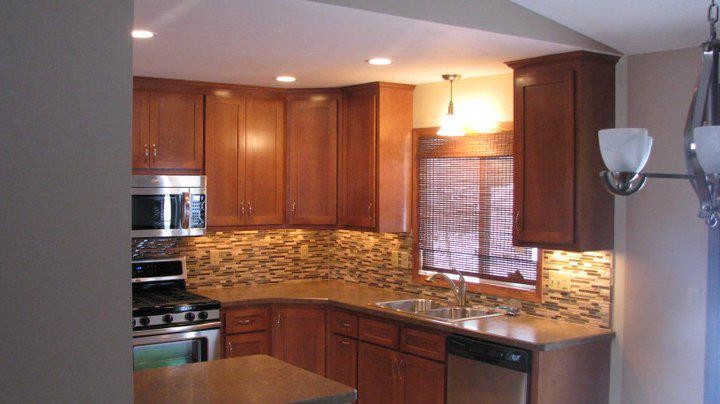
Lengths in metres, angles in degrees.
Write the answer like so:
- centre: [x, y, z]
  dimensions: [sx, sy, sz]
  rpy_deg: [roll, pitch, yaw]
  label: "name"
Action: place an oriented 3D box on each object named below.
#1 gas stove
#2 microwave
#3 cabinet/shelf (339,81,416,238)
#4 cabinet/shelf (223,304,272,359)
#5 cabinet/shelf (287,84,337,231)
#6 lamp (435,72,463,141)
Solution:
- centre: [-1.891, 0.983, 4.892]
  dimensions: [0.932, 0.190, 0.830]
  rpy_deg: [-2, 8, -41]
  label: "gas stove"
- centre: [-2.043, 0.052, 5.029]
  dimensions: [0.584, 0.599, 0.911]
  rpy_deg: [0, 1, 27]
  label: "microwave"
- centre: [0.184, -0.517, 5.392]
  dimensions: [0.609, 1.391, 0.703]
  rpy_deg: [4, -13, -29]
  label: "cabinet/shelf"
- centre: [-1.200, 1.261, 5.196]
  dimensions: [0.518, 0.623, 0.475]
  rpy_deg: [1, -3, -28]
  label: "cabinet/shelf"
- centre: [-0.516, -0.430, 5.406]
  dimensions: [0.646, 1.454, 0.206]
  rpy_deg: [-9, 19, -35]
  label: "cabinet/shelf"
- centre: [0.861, -0.888, 4.764]
  dimensions: [0.236, 0.557, 0.445]
  rpy_deg: [2, 6, 10]
  label: "lamp"
